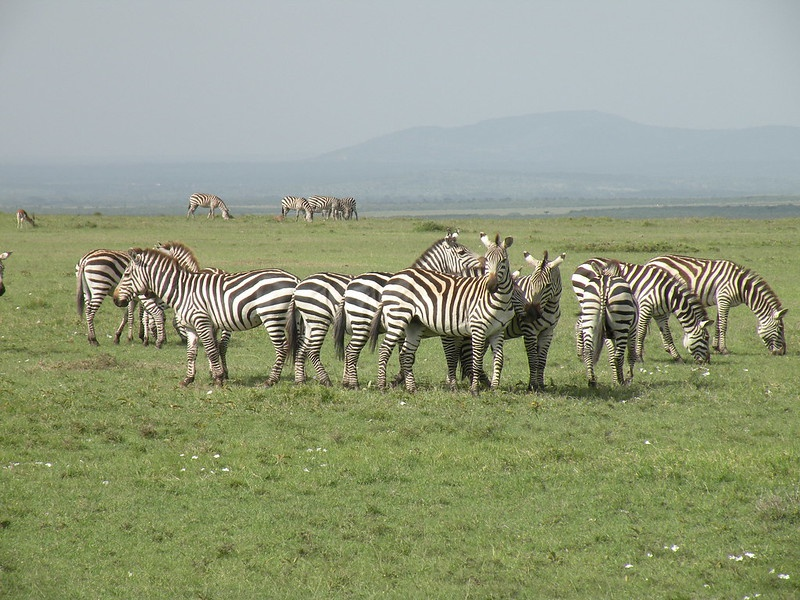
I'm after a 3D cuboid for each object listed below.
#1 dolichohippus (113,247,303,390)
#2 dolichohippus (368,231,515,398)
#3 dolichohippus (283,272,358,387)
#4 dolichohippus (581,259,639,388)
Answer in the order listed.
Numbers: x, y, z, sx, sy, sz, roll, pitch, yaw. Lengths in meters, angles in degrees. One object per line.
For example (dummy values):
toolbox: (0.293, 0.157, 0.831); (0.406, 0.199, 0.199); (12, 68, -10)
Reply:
dolichohippus: (-4.156, 0.509, 27.771); (2.602, 2.079, 0.852); (2, 7, 14)
dolichohippus: (0.939, 0.269, 25.823); (2.782, 3.133, 0.834); (3, 6, 30)
dolichohippus: (-1.681, 0.584, 26.639); (1.146, 2.258, 0.564); (-1, 5, -4)
dolichohippus: (4.250, 0.568, 26.895); (1.116, 2.277, 0.816); (1, 5, 9)
